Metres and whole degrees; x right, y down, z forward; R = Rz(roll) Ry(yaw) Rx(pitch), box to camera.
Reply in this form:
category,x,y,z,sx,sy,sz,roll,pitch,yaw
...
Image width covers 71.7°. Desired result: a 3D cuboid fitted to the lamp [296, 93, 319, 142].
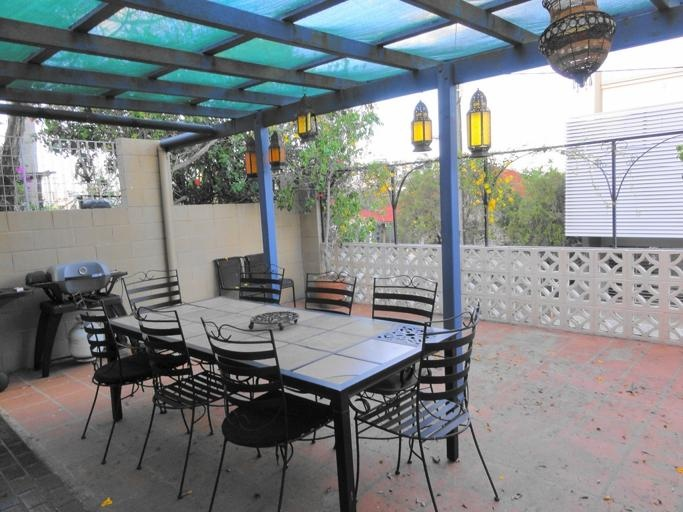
category,x,y,z,sx,sy,sz,roll,pitch,yaw
lamp,-0.308,-1.221,4.178,0.171,0.404,0.160,-4,7,-9

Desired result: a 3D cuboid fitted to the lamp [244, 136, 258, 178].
category,x,y,z,sx,sy,sz,roll,pitch,yaw
lamp,-1.073,-1.171,5.662,0.131,0.484,0.128,-4,7,-9

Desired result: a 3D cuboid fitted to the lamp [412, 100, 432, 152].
category,x,y,z,sx,sy,sz,roll,pitch,yaw
lamp,0.752,-1.216,4.439,0.189,0.483,0.175,-2,7,7

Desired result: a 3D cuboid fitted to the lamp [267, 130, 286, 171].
category,x,y,z,sx,sy,sz,roll,pitch,yaw
lamp,-0.719,-1.182,5.312,0.207,0.402,0.202,-8,13,-30

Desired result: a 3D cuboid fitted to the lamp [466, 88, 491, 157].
category,x,y,z,sx,sy,sz,roll,pitch,yaw
lamp,1.191,-1.156,4.103,0.199,0.567,0.242,-1,7,14
